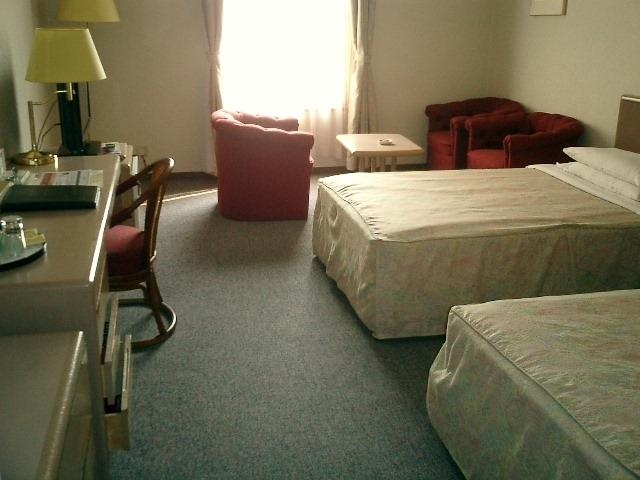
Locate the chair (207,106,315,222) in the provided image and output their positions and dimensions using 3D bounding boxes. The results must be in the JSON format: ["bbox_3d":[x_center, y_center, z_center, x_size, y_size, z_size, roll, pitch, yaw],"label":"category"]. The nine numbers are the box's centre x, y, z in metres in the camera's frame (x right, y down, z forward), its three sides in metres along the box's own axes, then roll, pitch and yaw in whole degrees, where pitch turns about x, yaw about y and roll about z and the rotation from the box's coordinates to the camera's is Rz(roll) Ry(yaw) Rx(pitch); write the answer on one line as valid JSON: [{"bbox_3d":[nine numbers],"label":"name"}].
[{"bbox_3d":[-0.544,-0.816,4.684,0.938,0.925,1.070,3,28,-5],"label":"chair"}]

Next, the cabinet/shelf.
[{"bbox_3d":[-1.154,-0.308,2.913,0.183,0.479,0.503,1,25,-8],"label":"cabinet/shelf"}]

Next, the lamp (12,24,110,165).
[{"bbox_3d":[-1.490,-0.804,2.861,0.498,0.734,0.429,-6,18,-22],"label":"lamp"}]

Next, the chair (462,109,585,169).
[{"bbox_3d":[1.887,-0.962,4.762,0.704,0.697,0.700,-10,29,-16],"label":"chair"}]

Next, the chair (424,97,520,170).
[{"bbox_3d":[1.654,-1.194,5.480,0.859,0.866,0.929,-5,24,-12],"label":"chair"}]
